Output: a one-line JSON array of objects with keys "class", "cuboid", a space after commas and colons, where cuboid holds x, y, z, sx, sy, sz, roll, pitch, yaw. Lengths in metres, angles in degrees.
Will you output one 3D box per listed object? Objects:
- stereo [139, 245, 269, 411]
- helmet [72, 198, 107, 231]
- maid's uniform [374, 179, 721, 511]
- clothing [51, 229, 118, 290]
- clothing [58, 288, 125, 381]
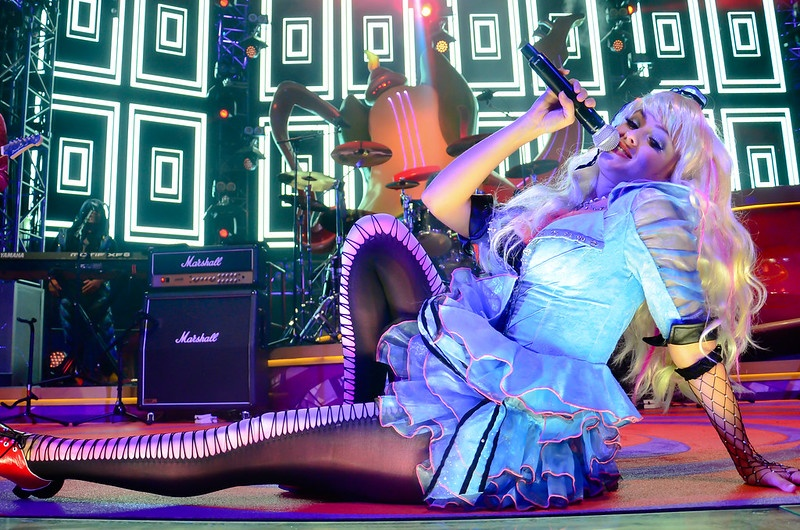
[{"class": "stereo", "cuboid": [-1.628, 0.547, 7.044, 0.928, 1.362, 0.783, 0, -6, -4]}, {"class": "helmet", "cuboid": [-2.834, -0.486, 7.987, 0.247, 0.336, 0.330, 16, 5, -18]}, {"class": "maid's uniform", "cuboid": [0.708, 0.371, 4.800, 1.775, 1.773, 1.546, 4, 4, 28]}, {"class": "clothing", "cuboid": [-2.739, -0.045, 7.425, 0.482, 0.451, 0.263, 4, -17, -21]}, {"class": "clothing", "cuboid": [-2.764, 0.651, 7.636, 0.596, 1.004, 0.467, -3, -25, -1]}]
